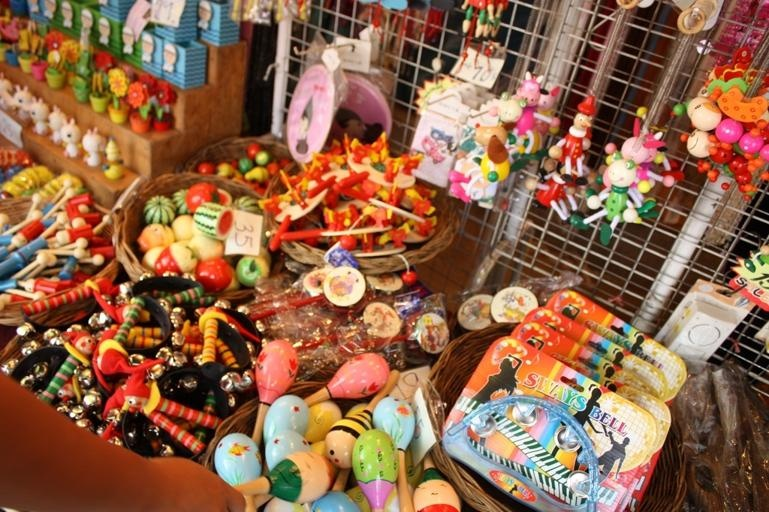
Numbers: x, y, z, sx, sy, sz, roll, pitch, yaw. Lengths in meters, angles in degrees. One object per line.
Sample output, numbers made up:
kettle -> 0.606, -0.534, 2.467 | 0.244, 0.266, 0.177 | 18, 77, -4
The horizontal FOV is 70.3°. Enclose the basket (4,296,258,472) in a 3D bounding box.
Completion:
basket -> -0.859, 0.373, 1.856 | 0.826, 0.271, 0.533 | 9, 34, -8
